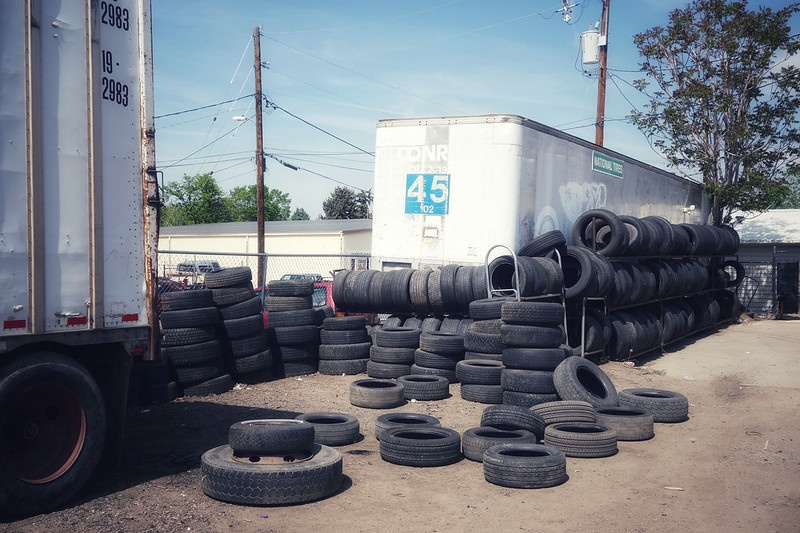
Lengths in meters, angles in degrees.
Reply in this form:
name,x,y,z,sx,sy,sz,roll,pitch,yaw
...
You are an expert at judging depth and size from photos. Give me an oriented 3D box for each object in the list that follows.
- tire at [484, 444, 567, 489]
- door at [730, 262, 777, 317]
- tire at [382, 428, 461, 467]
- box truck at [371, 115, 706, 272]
name,x,y,z,sx,sy,sz,roll,pitch,yaw
tire,1.633,2.705,9.598,1.052,0.378,1.111,-1,-2,3
door,15.323,1.467,30.698,1.480,2.831,1.601,-1,-40,22
tire,0.208,2.528,9.814,0.605,0.180,0.638,-1,-2,25
box truck,4.780,-1.358,20.679,3.723,4.521,12.194,3,3,40
